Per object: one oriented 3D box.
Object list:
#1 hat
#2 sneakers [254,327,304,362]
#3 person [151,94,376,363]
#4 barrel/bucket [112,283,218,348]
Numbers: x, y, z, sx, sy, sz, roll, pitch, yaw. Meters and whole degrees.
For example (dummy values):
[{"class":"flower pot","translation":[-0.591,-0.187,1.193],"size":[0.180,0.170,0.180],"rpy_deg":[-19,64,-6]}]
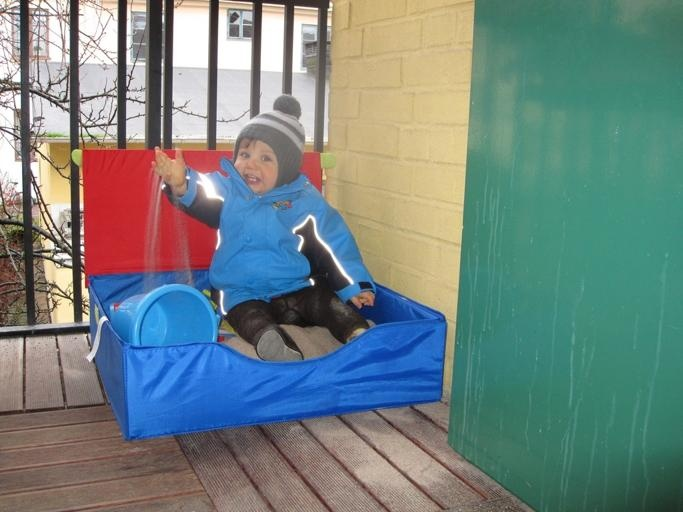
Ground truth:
[{"class":"hat","translation":[-0.235,-0.435,2.074],"size":[0.227,0.313,0.213],"rpy_deg":[8,14,2]},{"class":"sneakers","translation":[-0.182,0.255,1.646],"size":[0.095,0.092,0.113],"rpy_deg":[-10,13,-38]},{"class":"person","translation":[-0.253,-0.130,1.915],"size":[0.713,0.792,0.529],"rpy_deg":[-1,5,-18]},{"class":"barrel/bucket","translation":[-0.592,0.183,1.663],"size":[0.235,0.180,0.236],"rpy_deg":[-3,-3,0]}]
